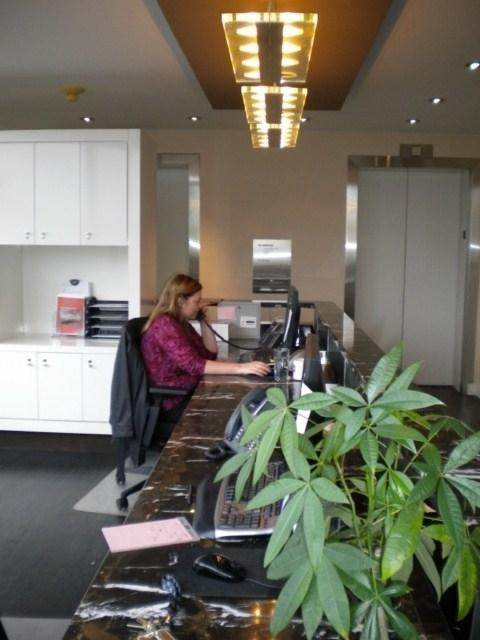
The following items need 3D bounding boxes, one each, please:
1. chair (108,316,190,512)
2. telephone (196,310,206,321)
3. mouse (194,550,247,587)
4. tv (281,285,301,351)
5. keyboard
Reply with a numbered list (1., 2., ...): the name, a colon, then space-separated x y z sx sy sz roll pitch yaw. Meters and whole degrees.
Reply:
1. chair: -0.561 0.543 2.854 0.453 1.077 0.576 -7 5 -17
2. telephone: -0.270 -0.029 3.306 0.019 0.063 0.061 -2 -17 -36
3. mouse: -0.041 0.473 0.917 0.071 0.022 0.045 6 16 12
4. tv: 0.339 -0.009 3.217 0.165 0.497 0.509 3 -5 5
5. keyboard: -0.010 0.386 1.004 0.172 0.069 0.326 -7 10 7
